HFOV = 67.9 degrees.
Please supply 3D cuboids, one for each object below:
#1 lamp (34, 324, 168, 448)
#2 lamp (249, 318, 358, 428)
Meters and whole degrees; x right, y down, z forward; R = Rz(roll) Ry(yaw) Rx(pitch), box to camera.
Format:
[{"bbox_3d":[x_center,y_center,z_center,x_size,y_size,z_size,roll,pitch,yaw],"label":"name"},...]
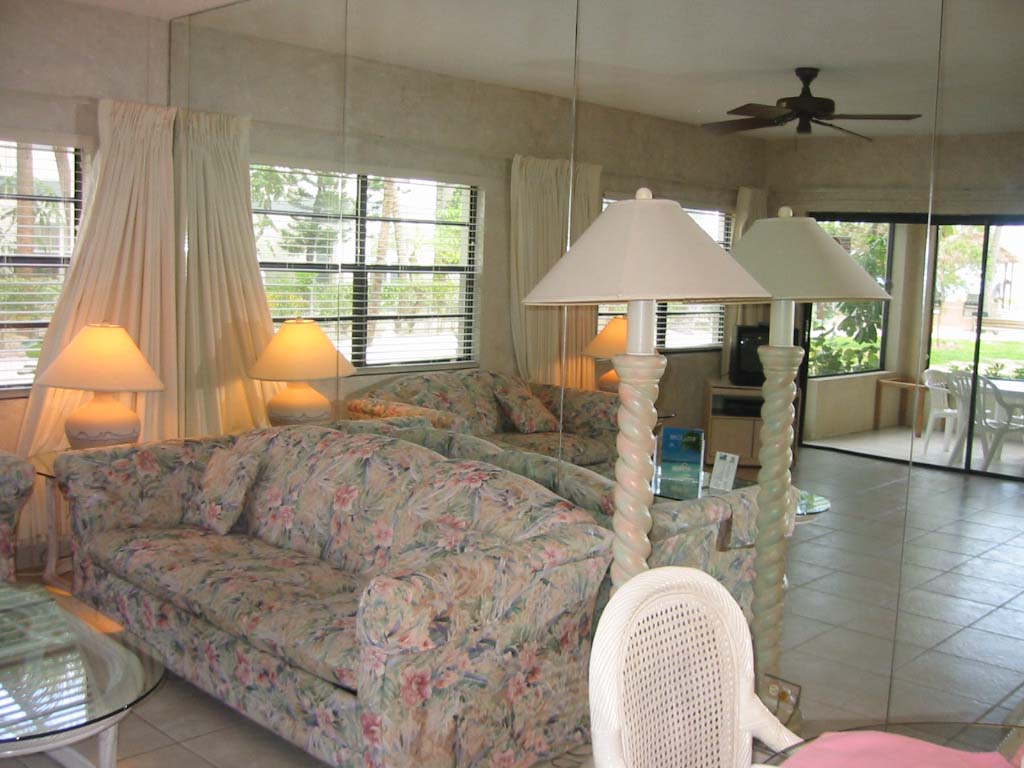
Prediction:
[{"bbox_3d":[-2.275,0.015,4.331,0.698,0.745,0.677,3,0,41],"label":"lamp"},{"bbox_3d":[-1.133,-0.076,4.172,0.639,0.644,0.578,-3,3,-26],"label":"lamp"}]
